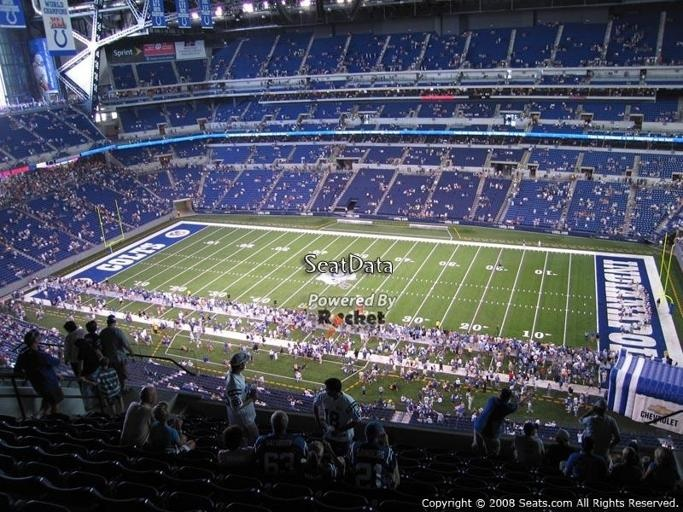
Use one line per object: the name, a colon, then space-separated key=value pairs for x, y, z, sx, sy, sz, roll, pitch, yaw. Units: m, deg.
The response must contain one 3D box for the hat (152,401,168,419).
hat: x=-3.777 y=3.159 z=12.814 sx=0.278 sy=0.361 sz=0.348 roll=4 pitch=-35 yaw=1
